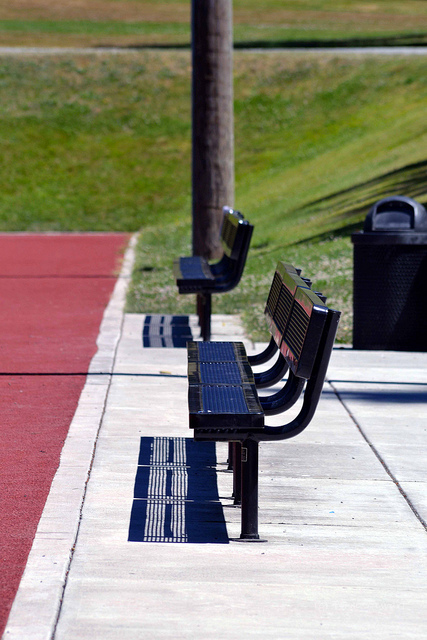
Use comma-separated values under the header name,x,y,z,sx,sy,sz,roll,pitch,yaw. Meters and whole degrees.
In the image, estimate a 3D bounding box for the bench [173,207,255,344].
name,x,y,z,sx,sy,sz,roll,pitch,yaw
bench,-0.034,-0.280,9.049,0.426,0.853,1.357,2,8,-5
